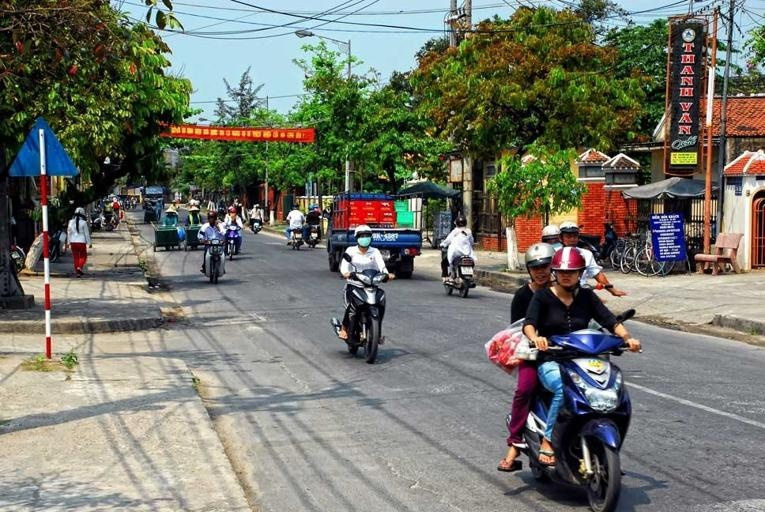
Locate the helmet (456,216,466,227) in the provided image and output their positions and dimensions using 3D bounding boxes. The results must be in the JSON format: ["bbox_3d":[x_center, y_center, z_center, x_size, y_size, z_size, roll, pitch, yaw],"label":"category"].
[{"bbox_3d":[1.966,-0.876,20.819,0.230,0.293,0.294,3,15,4],"label":"helmet"}]

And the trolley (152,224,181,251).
[{"bbox_3d":[-9.651,-0.797,36.582,0.923,1.110,1.574,1,4,11],"label":"trolley"}]

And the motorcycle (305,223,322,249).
[{"bbox_3d":[-3.458,-1.011,40.714,0.454,1.132,0.947,1,4,17],"label":"motorcycle"}]

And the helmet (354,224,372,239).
[{"bbox_3d":[-0.337,-0.420,13.951,0.252,0.245,0.330,1,12,-9],"label":"helmet"}]

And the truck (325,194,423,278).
[{"bbox_3d":[-0.450,-0.771,26.671,1.956,2.012,3.772,0,9,-14],"label":"truck"}]

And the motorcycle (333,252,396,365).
[{"bbox_3d":[-0.361,0.833,13.711,0.902,1.800,1.113,0,4,0],"label":"motorcycle"}]

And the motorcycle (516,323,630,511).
[{"bbox_3d":[1.968,1.602,8.020,0.774,1.717,0.517,2,4,33],"label":"motorcycle"}]

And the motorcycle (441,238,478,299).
[{"bbox_3d":[1.935,0.255,21.097,0.665,1.574,0.991,0,4,-4],"label":"motorcycle"}]

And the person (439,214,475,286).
[{"bbox_3d":[1.865,-0.221,21.106,0.908,1.057,1.638,1,10,0],"label":"person"}]

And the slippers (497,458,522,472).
[{"bbox_3d":[1.339,2.221,8.669,0.123,0.080,0.292,-6,-12,37],"label":"slippers"}]

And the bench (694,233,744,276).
[{"bbox_3d":[10.387,-0.080,25.520,1.068,1.205,1.003,-5,5,-17],"label":"bench"}]

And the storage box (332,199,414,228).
[{"bbox_3d":[-0.452,-1.411,27.645,1.725,0.773,1.718,0,2,-13],"label":"storage box"}]

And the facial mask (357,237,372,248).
[{"bbox_3d":[-0.329,-0.231,13.881,0.173,0.107,0.186,-1,6,-10],"label":"facial mask"}]
